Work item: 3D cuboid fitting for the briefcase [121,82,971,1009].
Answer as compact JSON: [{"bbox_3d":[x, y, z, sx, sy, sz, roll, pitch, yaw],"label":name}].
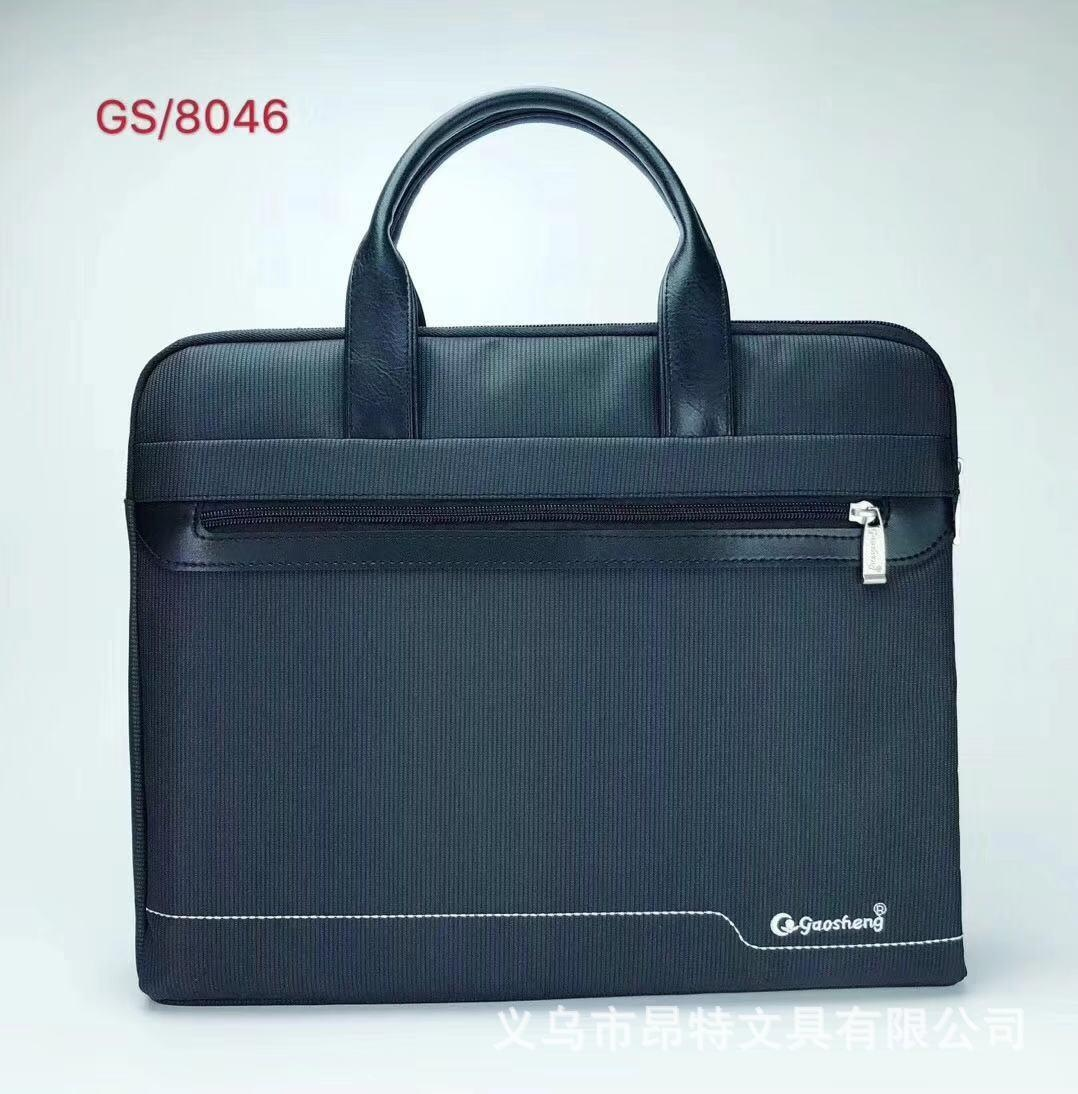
[{"bbox_3d":[0.010,-0.014,1.103,0.596,0.101,0.846,-1,-61,4],"label":"briefcase"}]
